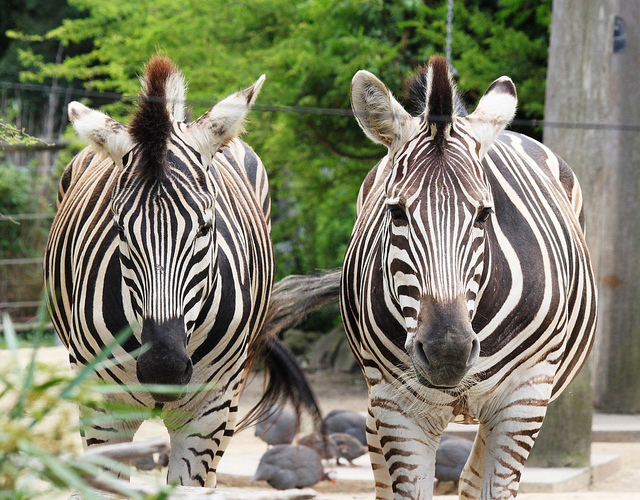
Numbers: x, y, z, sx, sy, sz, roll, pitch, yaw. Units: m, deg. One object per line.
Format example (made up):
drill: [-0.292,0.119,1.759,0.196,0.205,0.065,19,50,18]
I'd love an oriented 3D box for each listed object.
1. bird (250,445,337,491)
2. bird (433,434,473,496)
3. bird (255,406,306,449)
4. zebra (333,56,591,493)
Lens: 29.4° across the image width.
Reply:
bird: [-0.264,1.977,11.227,0.786,0.554,0.420,-3,-1,-7]
bird: [1.195,1.876,11.185,0.253,0.533,0.872,7,13,-4]
bird: [-0.374,1.703,11.871,0.427,0.551,0.657,2,-18,1]
zebra: [1.017,0.289,8.469,1.629,3.209,1.315,-2,7,-3]
